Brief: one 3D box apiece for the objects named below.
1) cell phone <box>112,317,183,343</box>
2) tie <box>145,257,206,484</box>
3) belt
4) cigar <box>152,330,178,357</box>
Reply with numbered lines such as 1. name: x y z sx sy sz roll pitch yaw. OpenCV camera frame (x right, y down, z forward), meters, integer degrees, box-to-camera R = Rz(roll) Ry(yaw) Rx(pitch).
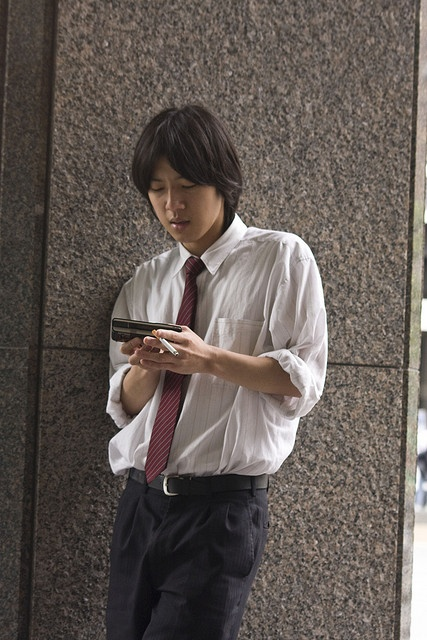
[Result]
1. cell phone: -0.176 0.024 1.742 0.249 0.174 0.045 -2 96 -37
2. tie: -0.096 0.123 1.854 0.093 0.070 0.607 23 68 -14
3. belt: -0.020 0.410 1.771 0.313 0.127 0.052 0 80 -5
4. cigar: -0.109 0.052 1.616 0.019 0.015 0.069 -42 91 -26
